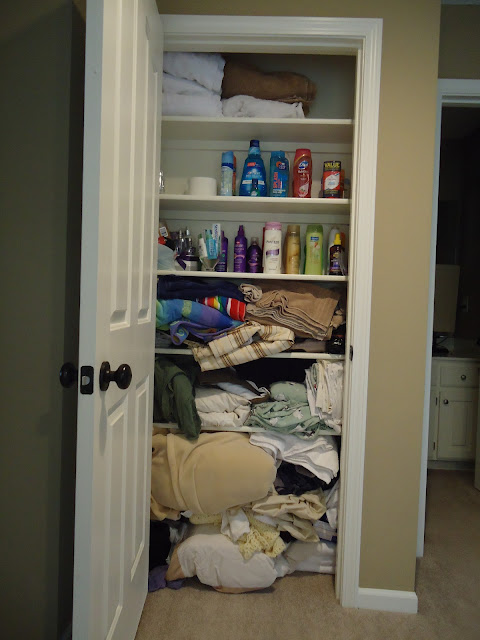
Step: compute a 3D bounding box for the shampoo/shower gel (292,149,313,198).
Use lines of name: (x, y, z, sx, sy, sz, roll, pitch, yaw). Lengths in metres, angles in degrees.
shampoo/shower gel: (0.246, -0.579, 2.100, 0.069, 0.190, 0.057, 2, 3, 1)

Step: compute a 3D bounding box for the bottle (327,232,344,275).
bottle: (0.380, -0.268, 2.125, 0.075, 0.241, 0.055, 1, -15, 7)

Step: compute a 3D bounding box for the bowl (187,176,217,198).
bowl: (-0.147, -0.527, 2.115, 0.105, 0.070, 0.069, 1, 3, -11)

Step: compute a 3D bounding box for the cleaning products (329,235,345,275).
cleaning products: (0.381, -0.268, 2.119, 0.057, 0.175, 0.110, 2, 3, 9)

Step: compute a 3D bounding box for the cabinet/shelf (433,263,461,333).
cabinet/shelf: (1.402, -0.150, 3.643, 0.148, 0.457, 0.117, 3, 3, 22)

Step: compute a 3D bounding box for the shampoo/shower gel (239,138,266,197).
shampoo/shower gel: (0.065, -0.603, 2.128, 0.103, 0.238, 0.174, 3, 3, 30)

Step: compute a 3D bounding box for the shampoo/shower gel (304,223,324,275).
shampoo/shower gel: (0.302, -0.299, 2.147, 0.077, 0.224, 0.078, -3, 35, 3)

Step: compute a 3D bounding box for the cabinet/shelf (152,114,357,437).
cabinet/shelf: (0.035, -0.180, 2.183, 0.802, 1.204, 0.458, 2, 3, 8)

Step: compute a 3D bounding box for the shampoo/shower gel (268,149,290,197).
shampoo/shower gel: (0.157, -0.568, 2.078, 0.071, 0.194, 0.110, 1, 3, -4)

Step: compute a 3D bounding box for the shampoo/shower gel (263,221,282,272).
shampoo/shower gel: (0.127, -0.282, 2.097, 0.065, 0.207, 0.139, 1, 3, -5)
